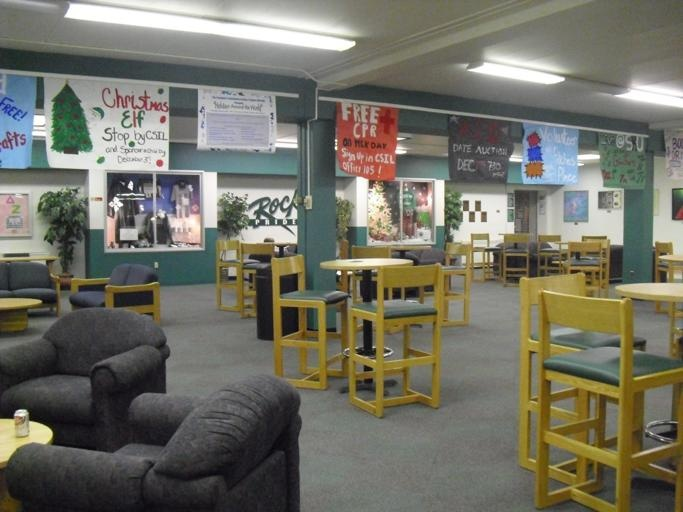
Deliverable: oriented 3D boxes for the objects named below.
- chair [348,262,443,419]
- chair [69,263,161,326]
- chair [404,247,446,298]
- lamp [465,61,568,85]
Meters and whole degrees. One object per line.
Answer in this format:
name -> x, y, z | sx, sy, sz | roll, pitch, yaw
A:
chair -> 0.539, 0.635, 5.353 | 0.889, 1.232, 2.088 | 0, 3, 10
chair -> -3.239, 0.527, 7.650 | 1.150, 0.709, 0.839 | 5, 6, 36
chair -> 1.618, 0.243, 10.285 | 1.002, 0.863, 0.934 | 0, 5, -1
lamp -> 2.086, -2.226, 6.473 | 1.391, 0.082, 0.339 | -2, 3, -27
